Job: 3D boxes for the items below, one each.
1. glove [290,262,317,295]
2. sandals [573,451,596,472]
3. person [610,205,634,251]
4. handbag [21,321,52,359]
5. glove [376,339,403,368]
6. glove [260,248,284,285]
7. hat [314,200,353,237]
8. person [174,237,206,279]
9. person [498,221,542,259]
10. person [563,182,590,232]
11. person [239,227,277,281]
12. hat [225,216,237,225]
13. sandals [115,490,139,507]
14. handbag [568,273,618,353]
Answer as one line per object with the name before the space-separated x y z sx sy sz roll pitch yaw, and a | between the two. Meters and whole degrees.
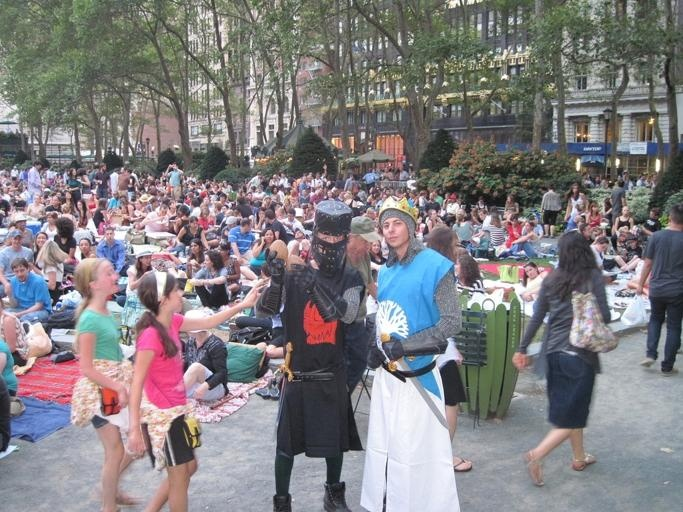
glove | -0.355 0.185 5.872 0.235 0.232 0.161 5 10 41
sandals | 2.480 2.113 7.433 0.249 0.104 0.126 -12 13 -43
person | 7.844 -0.718 20.119 0.491 1.317 0.753 1 -10 24
handbag | -4.511 1.253 10.609 0.319 0.469 0.723 -5 8 -19
glove | 0.388 0.803 6.013 0.135 0.231 0.280 -8 9 -36
glove | -0.594 0.134 5.994 0.271 0.357 0.148 3 8 0
hat | -0.088 -0.310 6.067 0.249 0.275 0.333 1 29 -6
person | -3.152 0.071 14.599 0.704 0.808 0.535 22 14 40
person | 4.916 -0.397 19.737 0.973 1.071 0.688 1 0 12
person | 7.342 -1.259 22.718 0.714 1.916 0.532 -1 -4 3
person | -1.707 -0.044 15.082 0.908 1.025 0.672 14 -18 -29
hat | -2.749 -0.836 17.430 0.264 0.209 0.326 -3 8 -9
sandals | -2.071 2.297 6.865 0.258 0.179 0.086 1 4 0
handbag | 2.438 0.600 7.118 0.370 0.694 0.546 -12 -17 31
